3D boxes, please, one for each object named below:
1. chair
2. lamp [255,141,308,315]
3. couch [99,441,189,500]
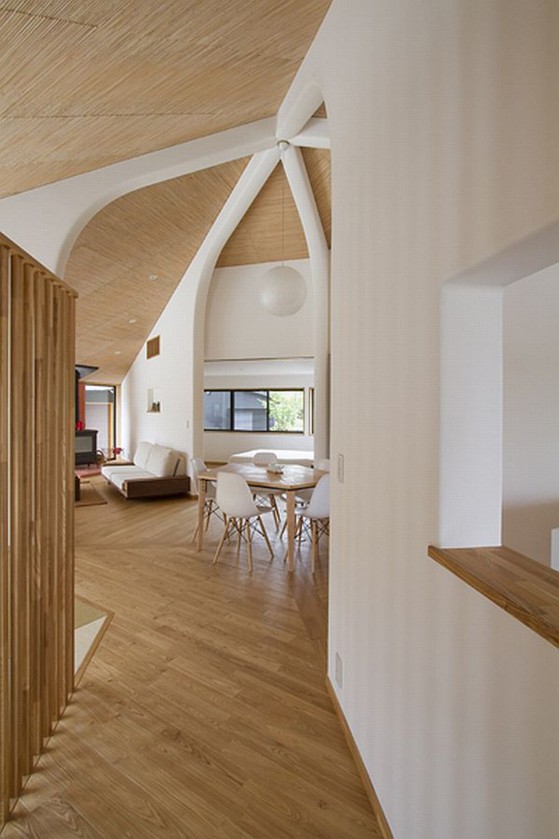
[{"bbox_3d":[-0.024,0.794,4.763,0.907,0.618,0.695,2,0,39],"label":"chair"},{"bbox_3d":[0.037,-1.541,4.758,0.366,1.375,0.322,0,4,-5],"label":"lamp"},{"bbox_3d":[-1.715,0.666,7.668,0.854,0.626,1.697,-2,4,-25],"label":"couch"}]
